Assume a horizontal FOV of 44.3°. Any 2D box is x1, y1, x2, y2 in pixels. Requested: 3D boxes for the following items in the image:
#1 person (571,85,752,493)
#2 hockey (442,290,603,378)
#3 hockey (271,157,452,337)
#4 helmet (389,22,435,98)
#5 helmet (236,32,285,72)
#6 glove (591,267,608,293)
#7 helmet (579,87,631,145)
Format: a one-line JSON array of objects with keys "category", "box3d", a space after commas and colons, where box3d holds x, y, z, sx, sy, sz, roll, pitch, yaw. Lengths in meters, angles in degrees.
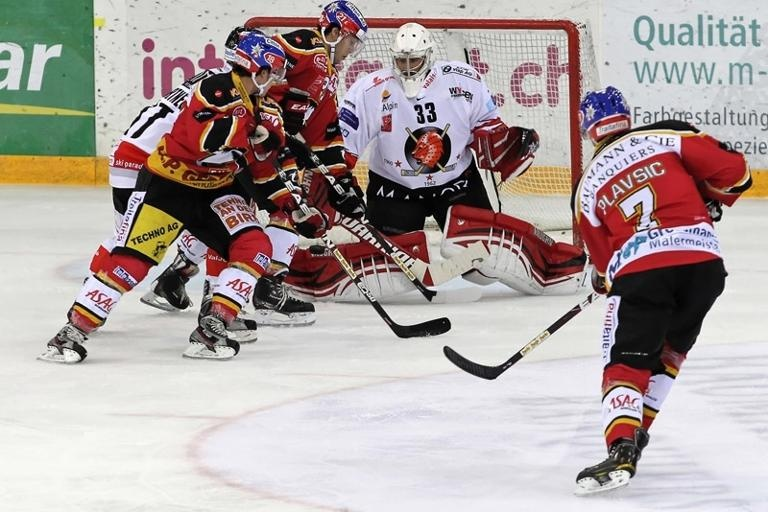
[{"category": "person", "box3d": [0.905, 0.134, 3.077, 0.590, 1.098, 0.802, 2, 16, 9]}, {"category": "hockey", "box3d": [0.595, 0.262, 3.599, 0.151, 0.825, 0.017, 22, 60, -4]}, {"category": "hockey", "box3d": [-0.125, -0.034, 4.860, 0.443, 0.055, 1.193, -24, 50, -26]}, {"category": "helmet", "box3d": [0.148, -1.009, 4.918, 0.209, 0.384, 0.171, 2, 17, 8]}, {"category": "helmet", "box3d": [-0.571, -0.905, 4.059, 0.200, 0.131, 0.141, 9, 21, 13]}, {"category": "glove", "box3d": [0.775, 0.092, 3.393, 0.031, 0.079, 0.068, -2, -7, -28]}, {"category": "helmet", "box3d": [0.752, -0.494, 3.274, 0.189, 0.181, 0.217, -12, 11, 3]}]
